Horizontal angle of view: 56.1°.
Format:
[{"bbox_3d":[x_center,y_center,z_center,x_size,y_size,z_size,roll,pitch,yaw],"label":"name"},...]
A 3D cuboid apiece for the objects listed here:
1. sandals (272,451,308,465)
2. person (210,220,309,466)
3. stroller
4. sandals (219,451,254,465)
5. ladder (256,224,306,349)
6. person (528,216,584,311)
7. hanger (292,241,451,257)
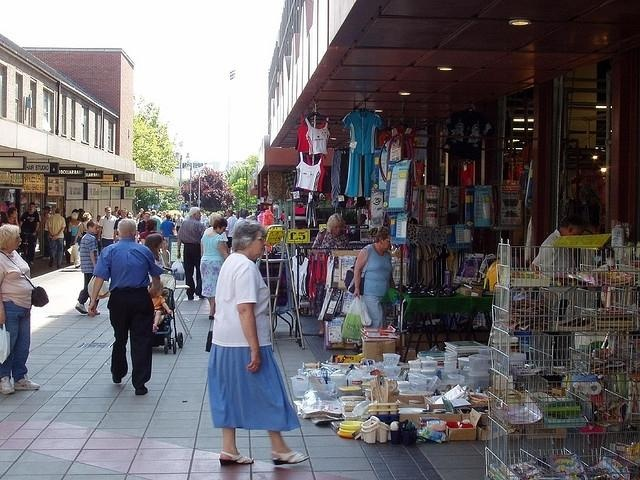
[{"bbox_3d":[-0.268,1.926,5.340,0.246,0.102,0.126,-1,2,-6],"label":"sandals"},{"bbox_3d":[-0.571,0.920,5.161,0.739,2.141,0.429,0,2,-12],"label":"person"},{"bbox_3d":[-2.462,1.157,9.583,0.433,1.338,0.538,5,4,-1],"label":"stroller"},{"bbox_3d":[-0.739,1.927,5.305,0.230,0.098,0.128,-1,2,-15],"label":"sandals"},{"bbox_3d":[-0.688,0.771,10.433,0.706,2.124,0.875,0,5,-8],"label":"ladder"},{"bbox_3d":[2.203,0.220,5.574,0.348,0.820,0.413,-1,6,1],"label":"person"},{"bbox_3d":[0.471,0.162,11.231,1.624,0.346,0.352,-1,14,1],"label":"hanger"}]
